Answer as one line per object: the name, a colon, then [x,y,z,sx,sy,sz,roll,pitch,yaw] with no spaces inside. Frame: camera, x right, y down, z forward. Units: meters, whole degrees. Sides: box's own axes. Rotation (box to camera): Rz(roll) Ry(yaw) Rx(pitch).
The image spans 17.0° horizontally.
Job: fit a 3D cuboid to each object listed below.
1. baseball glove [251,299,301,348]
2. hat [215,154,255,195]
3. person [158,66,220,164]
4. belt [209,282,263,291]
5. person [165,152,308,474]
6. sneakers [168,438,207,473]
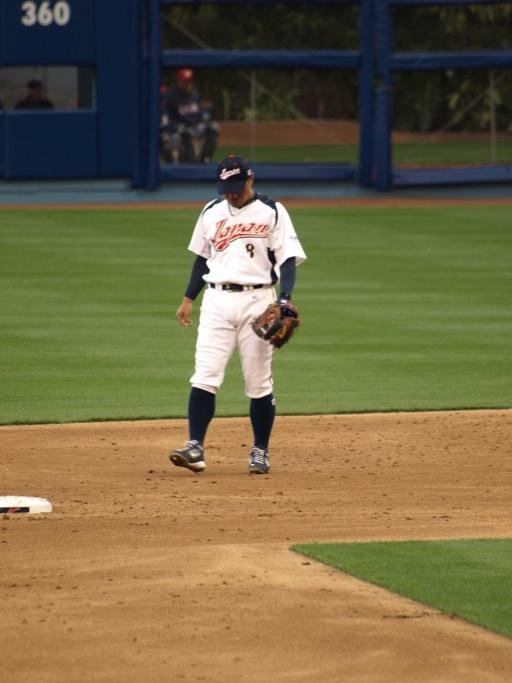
baseball glove: [0.091,-0.086,8.082,0.162,0.221,0.301,3,6,21]
hat: [-0.108,-0.784,8.064,0.162,0.174,0.221,1,5,-2]
person: [-0.659,-2.217,16.836,0.371,0.927,0.894,5,7,38]
belt: [-0.114,-0.264,8.155,0.281,0.039,0.112,4,6,24]
person: [-0.094,-0.133,8.219,0.621,1.493,0.610,1,5,-4]
sneakers: [-0.319,0.544,8.069,0.135,0.163,0.273,3,5,15]
